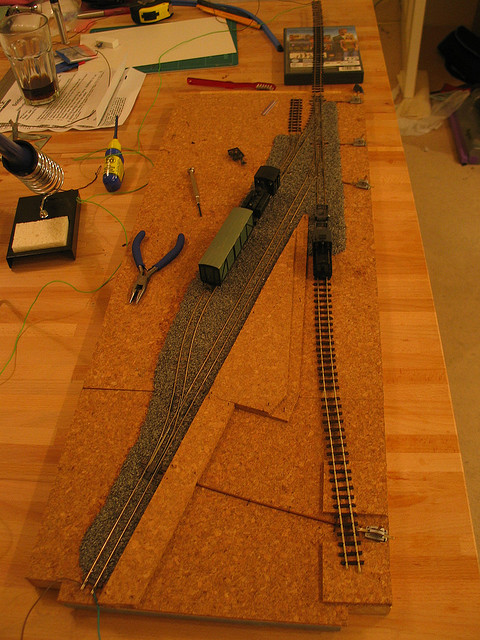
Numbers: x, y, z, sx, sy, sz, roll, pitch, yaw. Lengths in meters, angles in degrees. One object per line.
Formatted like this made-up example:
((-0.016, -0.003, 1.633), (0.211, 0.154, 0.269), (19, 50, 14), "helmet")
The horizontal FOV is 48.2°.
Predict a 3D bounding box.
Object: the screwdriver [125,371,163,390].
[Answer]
((-0.251, 0.149, 1.389), (0.102, 0.008, 0.029), (-23, 50, -12), "screwdriver")

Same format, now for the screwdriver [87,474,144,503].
((-0.277, 0.380, 1.202), (0.073, 0.004, 0.075), (-12, 36, -3), "screwdriver")
